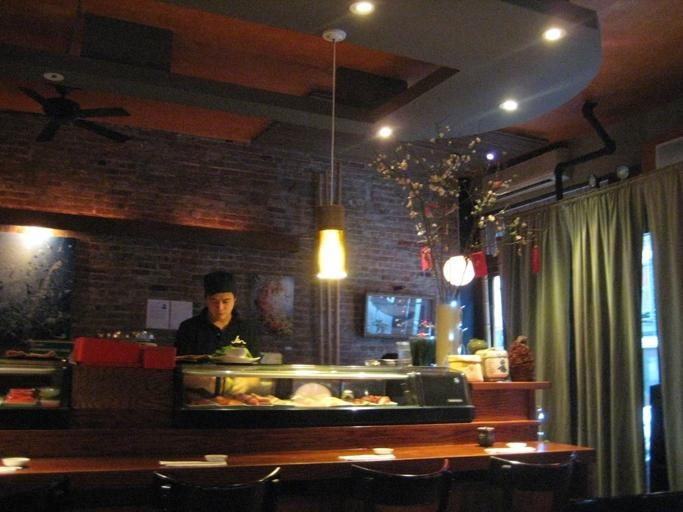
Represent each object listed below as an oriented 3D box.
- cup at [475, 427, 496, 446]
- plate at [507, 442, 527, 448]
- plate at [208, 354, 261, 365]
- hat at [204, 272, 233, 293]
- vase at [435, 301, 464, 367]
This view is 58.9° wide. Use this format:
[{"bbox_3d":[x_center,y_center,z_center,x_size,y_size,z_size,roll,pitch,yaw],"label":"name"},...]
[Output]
[{"bbox_3d":[0.939,1.202,4.042,0.140,0.107,0.136,2,-17,1],"label":"cup"},{"bbox_3d":[1.121,1.224,3.933,0.083,0.012,0.078,-8,-11,37],"label":"plate"},{"bbox_3d":[-0.653,0.631,3.696,0.312,0.057,0.106,3,-12,-15],"label":"plate"},{"bbox_3d":[-1.055,0.229,5.226,0.270,0.124,0.217,-1,-3,-14],"label":"hat"},{"bbox_3d":[0.809,0.594,4.617,0.181,0.475,0.294,-1,-14,7],"label":"vase"}]
